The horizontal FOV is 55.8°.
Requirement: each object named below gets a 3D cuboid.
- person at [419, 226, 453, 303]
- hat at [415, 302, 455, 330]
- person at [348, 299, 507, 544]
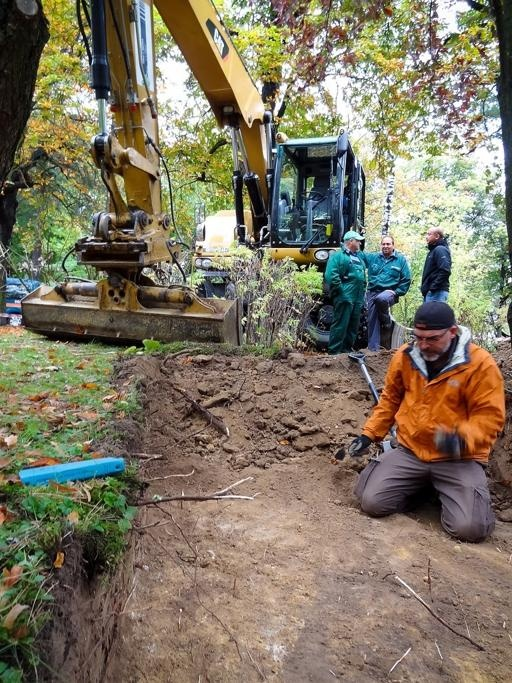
[{"bbox_3d":[2.260,-0.945,6.028,0.383,0.938,0.629,11,10,18],"label":"person"},{"bbox_3d":[1.053,-0.166,2.854,0.158,0.130,0.209,9,15,39],"label":"hat"},{"bbox_3d":[1.118,0.458,3.050,0.935,1.399,0.466,11,10,20],"label":"person"}]
